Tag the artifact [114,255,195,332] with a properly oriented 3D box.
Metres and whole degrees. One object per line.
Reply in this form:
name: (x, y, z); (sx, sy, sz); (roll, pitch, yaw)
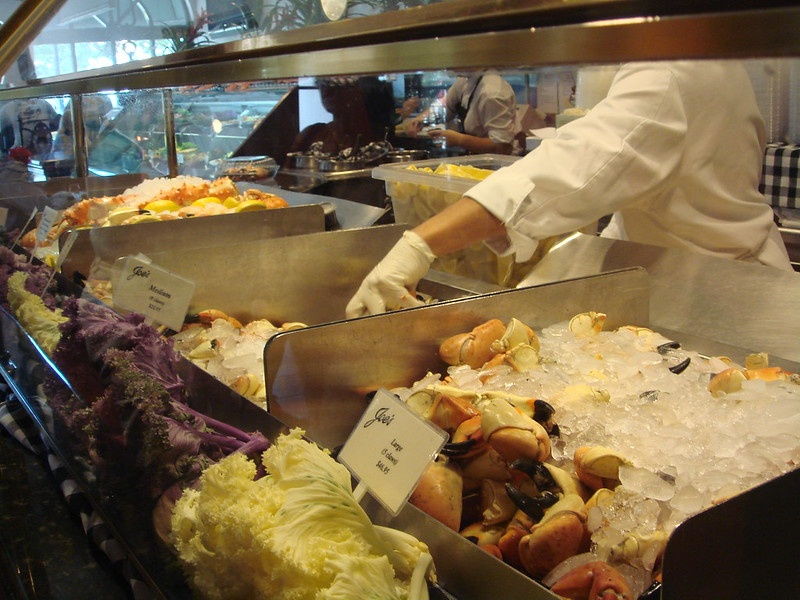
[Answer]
artifact: (-0.528, -0.010, 1.272); (0.238, 0.140, 0.050); (19, -5, 6)
